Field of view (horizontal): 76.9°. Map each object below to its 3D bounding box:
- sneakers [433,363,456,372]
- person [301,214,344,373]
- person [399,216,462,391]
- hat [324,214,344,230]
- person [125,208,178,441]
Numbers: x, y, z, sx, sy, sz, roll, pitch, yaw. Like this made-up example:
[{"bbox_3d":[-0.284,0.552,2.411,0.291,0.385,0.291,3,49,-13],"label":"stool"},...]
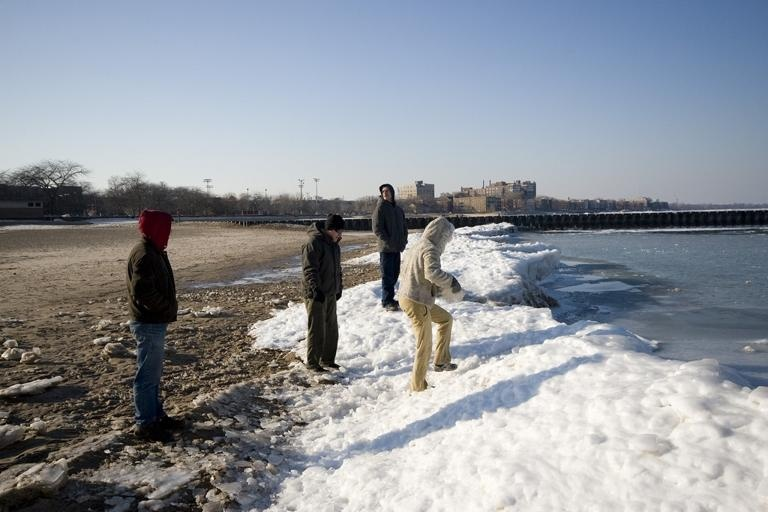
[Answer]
[{"bbox_3d":[1.007,1.840,7.995,0.391,0.158,0.128,-6,4,0],"label":"sneakers"},{"bbox_3d":[-1.006,0.642,8.201,0.742,2.678,0.693,-4,5,-19],"label":"person"},{"bbox_3d":[0.741,0.717,7.408,0.962,2.625,0.874,-1,5,18],"label":"person"},{"bbox_3d":[-0.829,-0.564,8.061,0.297,0.265,0.374,-3,5,-7],"label":"hat"},{"bbox_3d":[-2.954,0.860,6.186,0.527,2.901,0.584,-1,5,19],"label":"person"}]
